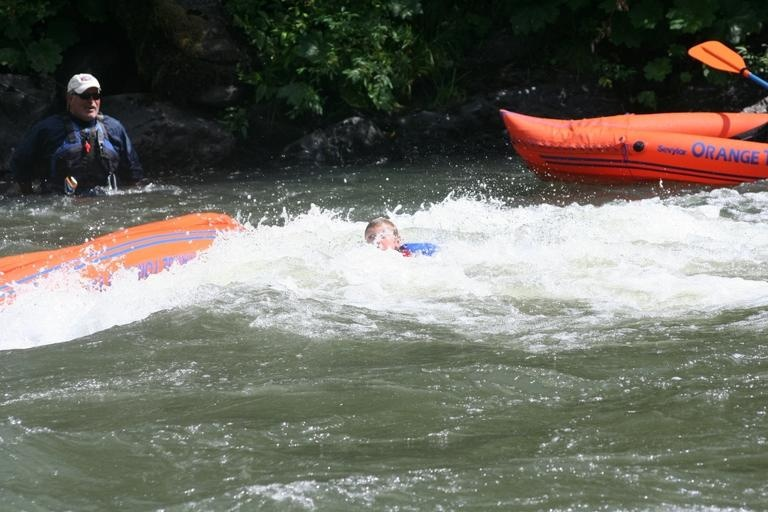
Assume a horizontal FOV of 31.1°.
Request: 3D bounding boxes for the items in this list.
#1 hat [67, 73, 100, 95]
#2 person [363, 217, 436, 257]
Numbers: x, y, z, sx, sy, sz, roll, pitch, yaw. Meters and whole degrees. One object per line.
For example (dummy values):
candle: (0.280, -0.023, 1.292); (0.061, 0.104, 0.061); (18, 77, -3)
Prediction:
hat: (-4.082, -2.311, 18.698); (0.371, 0.253, 0.288); (-15, 13, -33)
person: (0.206, -0.187, 16.251); (0.824, 0.233, 0.422); (13, -1, -6)
